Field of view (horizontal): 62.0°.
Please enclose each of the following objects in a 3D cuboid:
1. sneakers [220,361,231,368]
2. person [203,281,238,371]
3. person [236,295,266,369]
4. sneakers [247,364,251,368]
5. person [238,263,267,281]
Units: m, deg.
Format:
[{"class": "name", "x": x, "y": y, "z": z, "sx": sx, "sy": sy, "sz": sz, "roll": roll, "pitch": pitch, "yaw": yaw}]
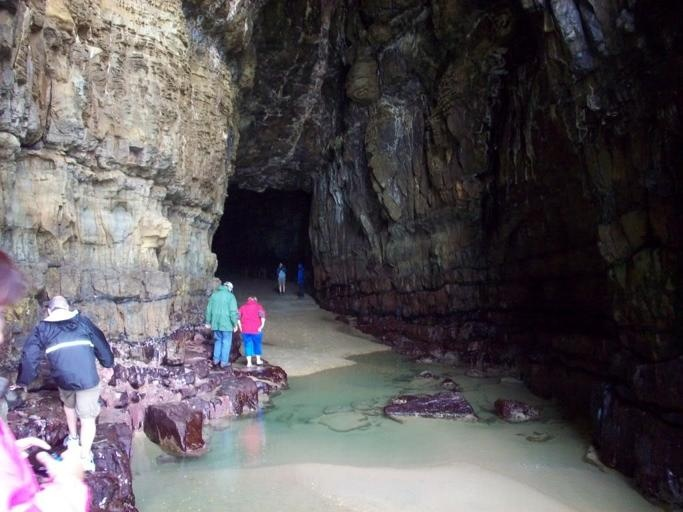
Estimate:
[{"class": "sneakers", "x": -2.203, "y": 2.077, "z": 10.814, "sx": 0.193, "sy": 0.072, "sz": 0.202, "roll": -1, "pitch": 5, "yaw": -27}, {"class": "person", "x": -2.319, "y": 1.328, "z": 11.122, "sx": 0.609, "sy": 1.622, "sz": 0.899, "roll": 0, "pitch": 5, "yaw": -13}, {"class": "person", "x": -1.854, "y": 1.560, "z": 11.734, "sx": 0.476, "sy": 1.469, "sz": 1.055, "roll": 0, "pitch": 5, "yaw": -9}, {"class": "sneakers", "x": -1.838, "y": 2.192, "z": 11.356, "sx": 0.089, "sy": 0.055, "sz": 0.175, "roll": 0, "pitch": 5, "yaw": -13}, {"class": "person", "x": -4.270, "y": 0.823, "z": 27.092, "sx": 2.055, "sy": 0.868, "sz": 0.567, "roll": -1, "pitch": 0, "yaw": 41}]
